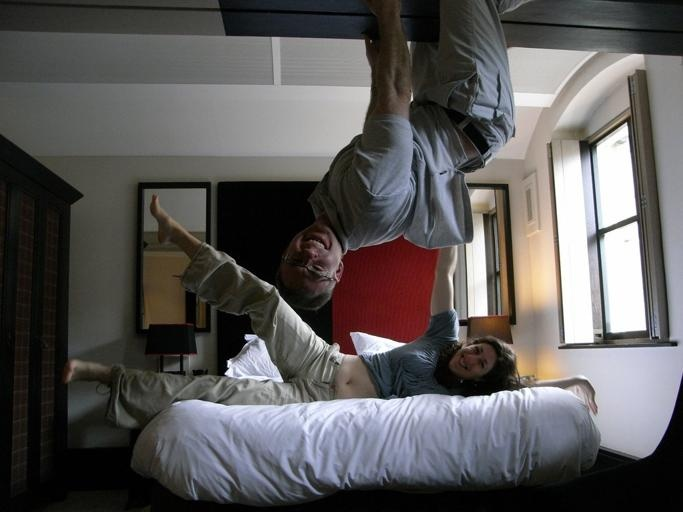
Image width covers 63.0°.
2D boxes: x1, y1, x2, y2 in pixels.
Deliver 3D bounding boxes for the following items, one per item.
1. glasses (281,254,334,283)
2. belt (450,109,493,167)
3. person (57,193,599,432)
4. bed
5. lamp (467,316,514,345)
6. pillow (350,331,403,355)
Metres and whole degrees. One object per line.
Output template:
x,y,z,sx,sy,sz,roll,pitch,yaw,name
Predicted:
-0.101,0.039,1.695,0.164,0.084,0.050,-1,-8,-3,glasses
0.437,-0.403,1.858,0.049,0.145,0.176,-37,15,-14,belt
-0.130,0.511,2.602,1.699,1.071,1.478,-7,-44,-10,person
0.084,0.713,2.109,1.239,0.365,0.731,1,-12,-6,bed
1.145,0.557,4.311,0.261,0.198,0.225,0,2,6,lamp
0.275,0.625,3.995,0.265,0.096,0.288,7,-1,-23,pillow
